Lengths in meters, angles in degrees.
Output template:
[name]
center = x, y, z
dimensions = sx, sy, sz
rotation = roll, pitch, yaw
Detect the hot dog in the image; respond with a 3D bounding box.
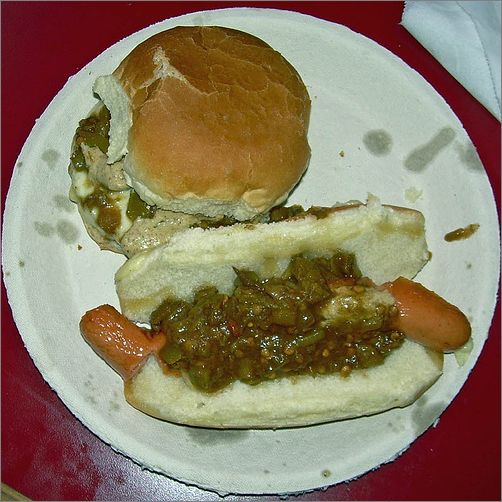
[hot dog]
center = 0.174, 0.278, 3.135
dimensions = 1.784, 0.523, 0.887
rotation = -2, 92, -4
